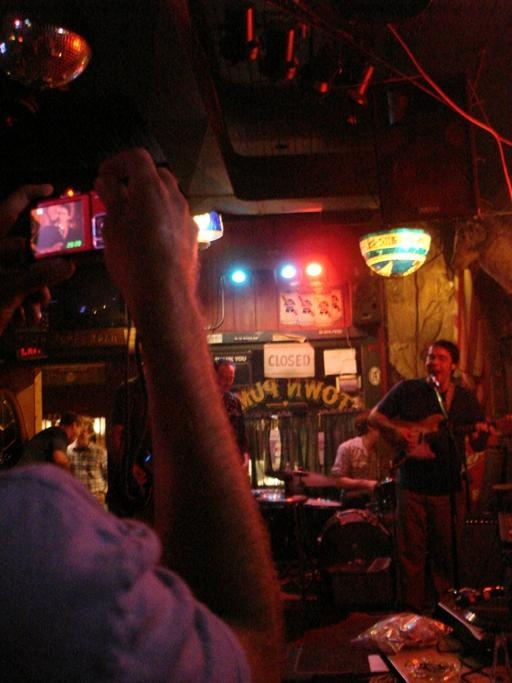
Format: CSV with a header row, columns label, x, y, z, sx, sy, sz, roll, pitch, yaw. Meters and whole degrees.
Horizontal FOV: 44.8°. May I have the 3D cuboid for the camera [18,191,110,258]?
label,x,y,z,sx,sy,sz,roll,pitch,yaw
camera,-0.443,-0.262,1.502,0.173,0.140,0.105,-8,-9,4

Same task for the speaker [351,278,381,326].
label,x,y,z,sx,sy,sz,roll,pitch,yaw
speaker,1.573,-0.609,8.793,0.180,0.564,0.741,-3,-3,-20

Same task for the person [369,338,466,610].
label,x,y,z,sx,sy,sz,roll,pitch,yaw
person,1.258,1.033,4.717,0.703,1.698,0.700,-5,-3,20

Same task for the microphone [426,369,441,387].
label,x,y,z,sx,sy,sz,roll,pitch,yaw
microphone,1.359,0.289,4.771,0.063,0.109,0.038,-5,-12,-1

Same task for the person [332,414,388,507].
label,x,y,z,sx,sy,sz,roll,pitch,yaw
person,1.216,1.325,6.758,0.623,1.114,0.601,9,-13,-30
